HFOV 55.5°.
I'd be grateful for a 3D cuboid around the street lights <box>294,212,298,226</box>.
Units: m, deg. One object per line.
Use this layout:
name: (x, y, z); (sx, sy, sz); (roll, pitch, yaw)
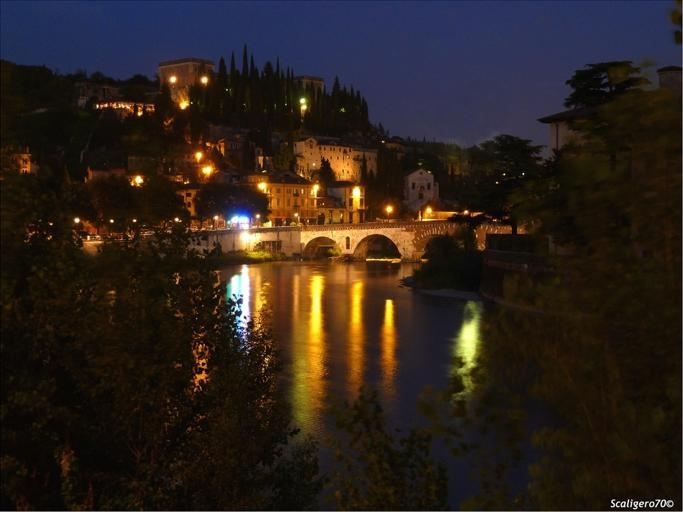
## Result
street lights: (-5.826, -4.847, 83.858); (0.688, 1.360, 0.821); (-1, 3, -5)
